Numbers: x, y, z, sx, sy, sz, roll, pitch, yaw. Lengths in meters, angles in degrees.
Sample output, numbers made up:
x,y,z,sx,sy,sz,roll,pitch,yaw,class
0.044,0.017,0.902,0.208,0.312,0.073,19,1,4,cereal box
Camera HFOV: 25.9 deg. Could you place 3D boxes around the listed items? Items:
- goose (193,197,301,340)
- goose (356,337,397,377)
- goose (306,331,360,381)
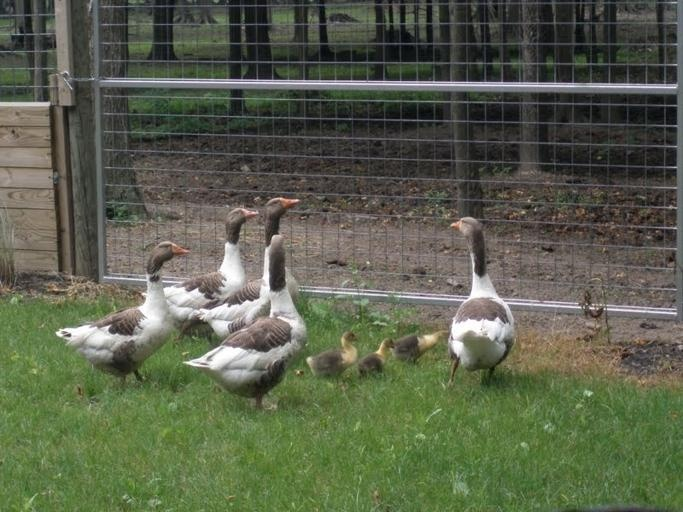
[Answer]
x,y,z,sx,sy,sz,roll,pitch,yaw,class
-1.556,0.241,20.477,1.656,1.846,0.665,-24,33,8,goose
0.462,1.390,20.331,0.566,0.493,0.231,-11,13,-28,goose
-0.117,1.363,20.424,0.709,0.652,0.469,-5,4,0,goose
